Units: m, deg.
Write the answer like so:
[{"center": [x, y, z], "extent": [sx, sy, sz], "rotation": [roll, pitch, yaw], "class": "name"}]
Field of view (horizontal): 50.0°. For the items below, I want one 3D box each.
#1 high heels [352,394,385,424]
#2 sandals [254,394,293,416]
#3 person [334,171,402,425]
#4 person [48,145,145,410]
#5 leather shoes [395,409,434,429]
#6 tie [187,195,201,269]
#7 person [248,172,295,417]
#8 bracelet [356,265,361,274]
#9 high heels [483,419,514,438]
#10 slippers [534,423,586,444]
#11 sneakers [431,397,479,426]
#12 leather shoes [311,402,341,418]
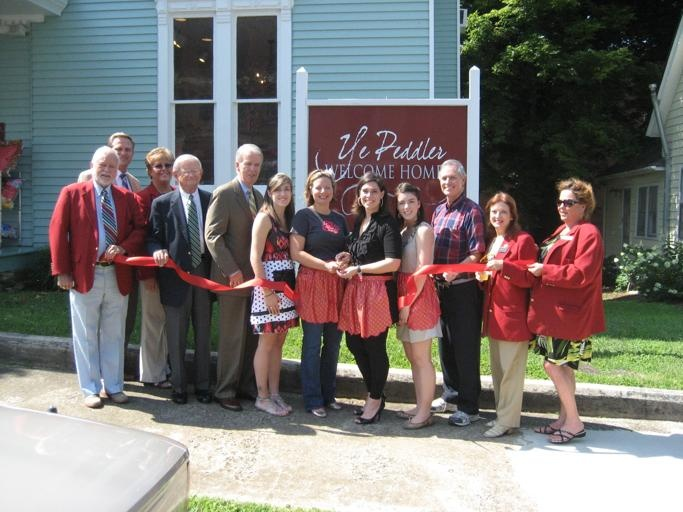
[{"center": [0.247, 1.625, 7.648], "extent": [0.150, 0.243, 0.454], "rotation": [-5, -14, 31], "class": "high heels"}, {"center": [-0.722, 1.582, 7.798], "extent": [0.309, 0.129, 0.184], "rotation": [1, 10, 25], "class": "sandals"}, {"center": [0.274, 0.441, 7.620], "extent": [0.602, 2.582, 0.426], "rotation": [5, 6, 8], "class": "person"}, {"center": [-2.598, 0.201, 7.803], "extent": [0.950, 2.707, 0.536], "rotation": [2, 6, -22], "class": "person"}, {"center": [0.734, 1.700, 7.620], "extent": [0.246, 0.094, 0.184], "rotation": [-8, 1, 39], "class": "leather shoes"}, {"center": [-1.598, -0.265, 7.906], "extent": [0.193, 0.778, 0.128], "rotation": [10, 8, 43], "class": "tie"}, {"center": [-0.716, 0.397, 7.783], "extent": [0.539, 2.529, 0.477], "rotation": [3, 6, -11], "class": "person"}, {"center": [0.186, 0.141, 7.470], "extent": [0.046, 0.082, 0.030], "rotation": [5, 6, 2], "class": "bracelet"}, {"center": [1.605, 1.782, 7.463], "extent": [0.356, 0.159, 0.132], "rotation": [3, -8, -13], "class": "high heels"}, {"center": [2.202, 1.776, 7.290], "extent": [0.333, 0.084, 0.201], "rotation": [0, 4, -5], "class": "slippers"}, {"center": [1.182, 1.667, 7.766], "extent": [0.194, 0.254, 0.582], "rotation": [-7, -24, 45], "class": "sneakers"}, {"center": [-0.158, 1.653, 7.835], "extent": [0.114, 0.154, 0.354], "rotation": [8, -23, -17], "class": "leather shoes"}]
